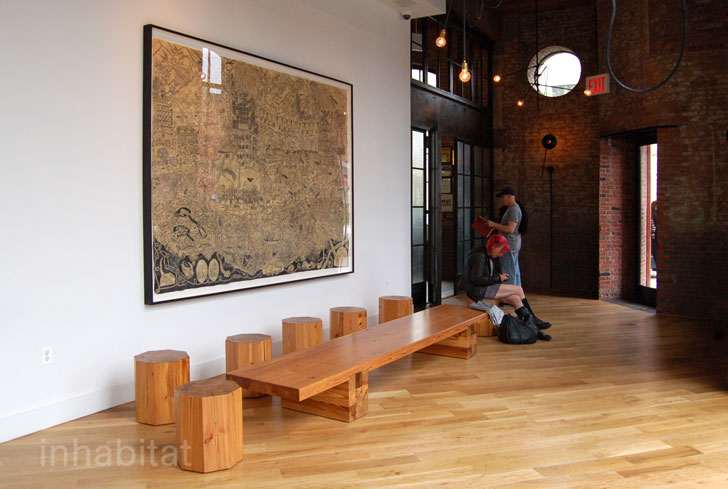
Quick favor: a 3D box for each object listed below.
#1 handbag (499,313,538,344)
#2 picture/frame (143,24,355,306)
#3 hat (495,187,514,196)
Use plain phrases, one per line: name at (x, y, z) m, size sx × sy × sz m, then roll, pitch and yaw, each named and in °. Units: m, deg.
handbag at (1.899, 1.078, 6.578) m, size 0.416 × 0.157 × 0.388 m, roll 2°, pitch 13°, yaw -17°
picture/frame at (-1.278, -0.853, 5.583) m, size 0.131 × 2.906 × 3.804 m, roll -1°, pitch -2°, yaw 35°
hat at (2.113, -0.796, 7.825) m, size 0.184 × 0.112 × 0.753 m, roll 3°, pitch 10°, yaw 17°
